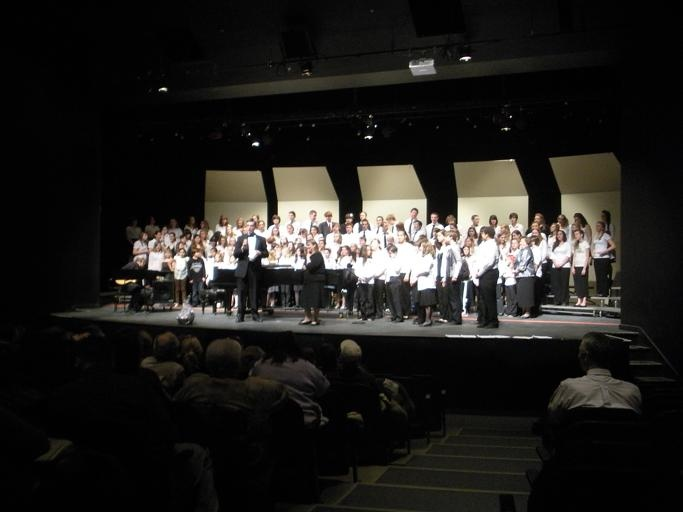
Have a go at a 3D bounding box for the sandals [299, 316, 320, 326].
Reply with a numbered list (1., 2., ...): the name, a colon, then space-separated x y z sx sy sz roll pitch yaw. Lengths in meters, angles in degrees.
1. sandals: -0.509 1.052 9.217 0.406 0.169 0.129 3 -5 5
